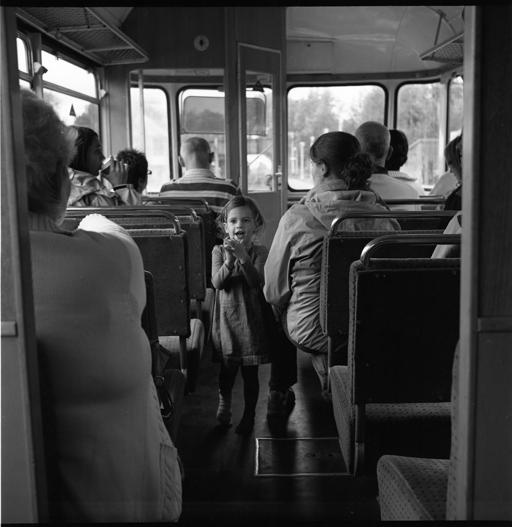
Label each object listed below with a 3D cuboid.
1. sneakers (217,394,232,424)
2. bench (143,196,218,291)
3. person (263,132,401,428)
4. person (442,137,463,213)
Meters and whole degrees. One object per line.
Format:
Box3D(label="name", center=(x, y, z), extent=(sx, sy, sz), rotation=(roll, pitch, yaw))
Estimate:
Box3D(label="sneakers", center=(-0.173, 0.757, 3.208), extent=(0.093, 0.170, 0.088), rotation=(2, 8, 11))
Box3D(label="bench", center=(-0.424, -0.104, 3.504), extent=(0.521, 0.656, 0.422), rotation=(0, 8, 9))
Box3D(label="person", center=(0.385, 0.136, 3.390), extent=(0.562, 1.720, 0.785), rotation=(4, 14, -1))
Box3D(label="person", center=(1.328, -0.625, 4.095), extent=(0.115, 0.487, 1.144), rotation=(2, 9, 17))
